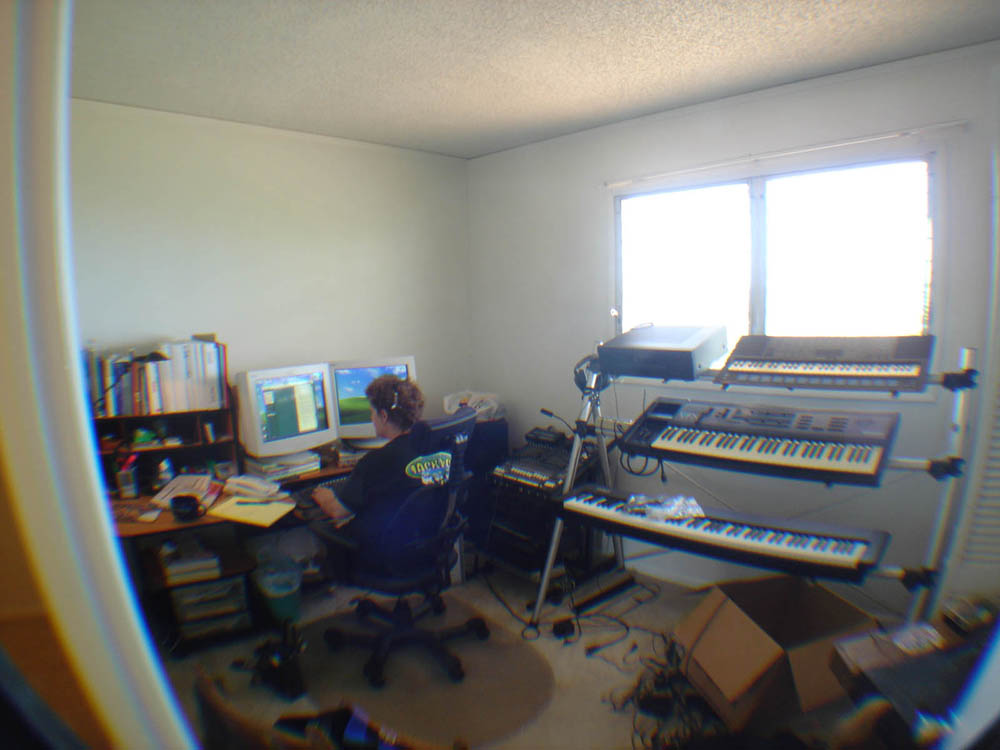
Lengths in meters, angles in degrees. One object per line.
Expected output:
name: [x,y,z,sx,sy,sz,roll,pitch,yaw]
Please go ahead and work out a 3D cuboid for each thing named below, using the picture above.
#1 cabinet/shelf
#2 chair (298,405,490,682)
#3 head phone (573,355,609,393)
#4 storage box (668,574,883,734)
cabinet/shelf: [-1.473,0.733,3.361,0.627,1.119,0.695,-9,11,-30]
chair: [-0.407,0.680,3.074,0.607,1.051,0.589,5,3,25]
head phone: [0.449,0.012,3.423,0.135,0.197,0.173,-1,-7,8]
storage box: [1.196,1.149,3.013,0.692,0.220,0.514,-29,39,-3]
